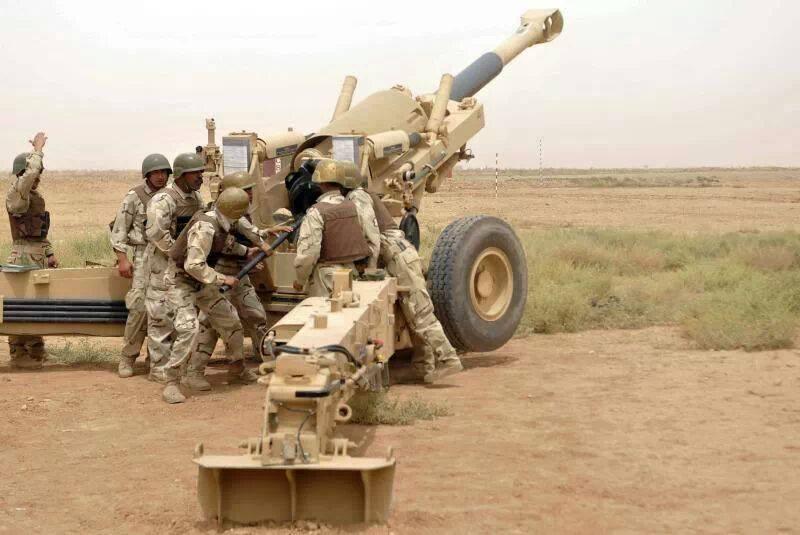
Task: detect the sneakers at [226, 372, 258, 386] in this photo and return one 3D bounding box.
[{"bbox_3d":[-1.825,1.256,9.824,0.450,0.188,0.174,0,5,0],"label":"sneakers"}]

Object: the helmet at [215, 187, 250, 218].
[{"bbox_3d":[-1.746,-0.639,8.883,0.344,0.282,0.278,21,-16,-16],"label":"helmet"}]

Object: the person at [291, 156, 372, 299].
[{"bbox_3d":[-0.725,-0.419,8.831,0.830,1.406,0.453,-3,6,-18],"label":"person"}]

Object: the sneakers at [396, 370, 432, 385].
[{"bbox_3d":[0.115,1.256,9.720,0.291,0.096,0.191,0,-2,-15],"label":"sneakers"}]

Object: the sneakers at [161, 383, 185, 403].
[{"bbox_3d":[-2.396,1.310,8.930,0.236,0.200,0.222,-2,5,-13],"label":"sneakers"}]

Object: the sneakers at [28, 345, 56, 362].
[{"bbox_3d":[-4.442,1.069,10.420,0.222,0.094,0.217,7,8,-2],"label":"sneakers"}]

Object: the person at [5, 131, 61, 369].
[{"bbox_3d":[-4.571,-0.225,10.422,0.622,2.814,1.572,-3,6,-22],"label":"person"}]

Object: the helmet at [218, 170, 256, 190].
[{"bbox_3d":[-1.833,-0.979,9.434,0.332,0.131,0.239,-5,8,0],"label":"helmet"}]

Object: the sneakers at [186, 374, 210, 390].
[{"bbox_3d":[-2.267,1.266,9.473,0.284,0.148,0.145,0,6,30],"label":"sneakers"}]

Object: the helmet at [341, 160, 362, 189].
[{"bbox_3d":[-0.538,-1.005,9.170,0.220,0.240,0.289,-11,40,-25],"label":"helmet"}]

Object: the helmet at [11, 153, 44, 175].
[{"bbox_3d":[-4.663,-1.272,10.438,0.202,0.265,0.472,-4,6,-30],"label":"helmet"}]

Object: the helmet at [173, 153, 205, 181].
[{"bbox_3d":[-2.349,-1.139,9.413,0.358,0.267,0.440,-2,5,-14],"label":"helmet"}]
